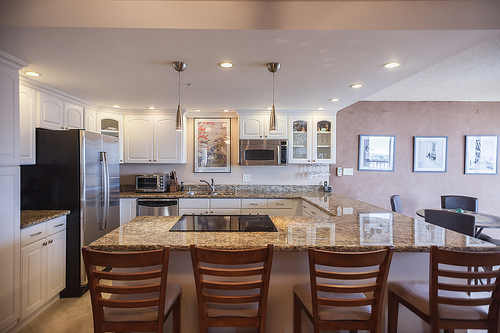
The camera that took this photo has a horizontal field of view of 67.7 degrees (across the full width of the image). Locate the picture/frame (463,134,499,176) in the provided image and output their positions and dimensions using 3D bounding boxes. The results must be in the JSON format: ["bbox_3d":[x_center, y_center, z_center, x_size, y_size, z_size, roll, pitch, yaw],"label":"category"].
[{"bbox_3d":[3.954,-0.217,6.388,0.839,0.920,0.039,1,0,-1],"label":"picture/frame"}]

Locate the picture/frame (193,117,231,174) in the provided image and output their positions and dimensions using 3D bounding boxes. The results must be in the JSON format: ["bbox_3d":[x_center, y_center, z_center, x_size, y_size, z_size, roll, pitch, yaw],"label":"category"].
[{"bbox_3d":[-0.651,-0.364,6.398,0.585,0.913,0.111,0,1,-10],"label":"picture/frame"}]

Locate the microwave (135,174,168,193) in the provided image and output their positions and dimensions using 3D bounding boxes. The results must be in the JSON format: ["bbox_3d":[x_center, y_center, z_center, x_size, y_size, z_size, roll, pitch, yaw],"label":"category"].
[{"bbox_3d":[-1.628,0.275,6.234,0.471,0.243,0.311,0,-4,-7],"label":"microwave"}]

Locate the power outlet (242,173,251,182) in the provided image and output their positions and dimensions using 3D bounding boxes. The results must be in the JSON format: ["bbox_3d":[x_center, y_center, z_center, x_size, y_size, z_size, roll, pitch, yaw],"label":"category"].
[{"bbox_3d":[-0.063,0.173,6.462,0.171,0.138,0.016,1,-1,-1],"label":"power outlet"}]

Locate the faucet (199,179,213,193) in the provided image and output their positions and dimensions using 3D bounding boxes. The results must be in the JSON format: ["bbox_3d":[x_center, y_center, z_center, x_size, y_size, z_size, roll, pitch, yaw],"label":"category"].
[{"bbox_3d":[-0.733,0.319,6.369,0.261,0.225,0.192,0,1,2],"label":"faucet"}]

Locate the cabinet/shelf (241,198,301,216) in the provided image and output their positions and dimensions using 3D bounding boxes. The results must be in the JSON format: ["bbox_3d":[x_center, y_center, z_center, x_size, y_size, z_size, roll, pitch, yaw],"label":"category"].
[{"bbox_3d":[0.329,0.629,5.856,0.944,0.255,0.098,0,1,3],"label":"cabinet/shelf"}]

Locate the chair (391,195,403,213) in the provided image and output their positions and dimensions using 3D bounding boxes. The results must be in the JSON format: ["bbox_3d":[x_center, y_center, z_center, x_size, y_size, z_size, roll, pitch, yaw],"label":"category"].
[{"bbox_3d":[2.158,0.559,5.513,0.137,0.250,0.398,1,1,21],"label":"chair"}]

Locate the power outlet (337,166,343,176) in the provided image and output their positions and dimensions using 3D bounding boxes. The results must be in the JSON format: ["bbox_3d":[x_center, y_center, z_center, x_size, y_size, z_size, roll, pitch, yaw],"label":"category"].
[{"bbox_3d":[1.540,0.082,6.387,0.100,0.151,0.029,0,1,-2],"label":"power outlet"}]

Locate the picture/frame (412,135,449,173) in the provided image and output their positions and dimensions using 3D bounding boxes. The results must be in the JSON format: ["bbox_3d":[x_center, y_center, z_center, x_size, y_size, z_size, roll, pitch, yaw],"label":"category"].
[{"bbox_3d":[3.081,-0.228,6.378,0.758,0.715,0.041,0,1,-2],"label":"picture/frame"}]

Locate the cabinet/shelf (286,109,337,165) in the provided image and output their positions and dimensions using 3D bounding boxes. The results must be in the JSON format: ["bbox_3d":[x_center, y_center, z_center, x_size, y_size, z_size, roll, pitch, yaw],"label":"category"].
[{"bbox_3d":[0.933,-0.444,6.202,0.968,0.771,0.324,-2,4,-26],"label":"cabinet/shelf"}]

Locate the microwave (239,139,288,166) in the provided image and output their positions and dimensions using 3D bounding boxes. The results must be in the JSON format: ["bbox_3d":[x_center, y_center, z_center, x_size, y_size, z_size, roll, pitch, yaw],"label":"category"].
[{"bbox_3d":[0.175,-0.224,6.250,0.739,0.355,0.458,0,-2,0],"label":"microwave"}]

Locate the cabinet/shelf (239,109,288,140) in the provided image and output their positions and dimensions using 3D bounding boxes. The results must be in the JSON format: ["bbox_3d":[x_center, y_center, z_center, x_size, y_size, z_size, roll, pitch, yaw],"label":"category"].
[{"bbox_3d":[0.281,-0.657,6.174,0.866,0.414,0.283,4,11,25],"label":"cabinet/shelf"}]

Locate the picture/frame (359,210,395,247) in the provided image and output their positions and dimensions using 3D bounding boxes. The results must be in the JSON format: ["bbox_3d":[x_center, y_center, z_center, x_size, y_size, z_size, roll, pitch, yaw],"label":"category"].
[{"bbox_3d":[1.332,0.641,3.930,0.361,0.180,1.071,1,0,17],"label":"picture/frame"}]
